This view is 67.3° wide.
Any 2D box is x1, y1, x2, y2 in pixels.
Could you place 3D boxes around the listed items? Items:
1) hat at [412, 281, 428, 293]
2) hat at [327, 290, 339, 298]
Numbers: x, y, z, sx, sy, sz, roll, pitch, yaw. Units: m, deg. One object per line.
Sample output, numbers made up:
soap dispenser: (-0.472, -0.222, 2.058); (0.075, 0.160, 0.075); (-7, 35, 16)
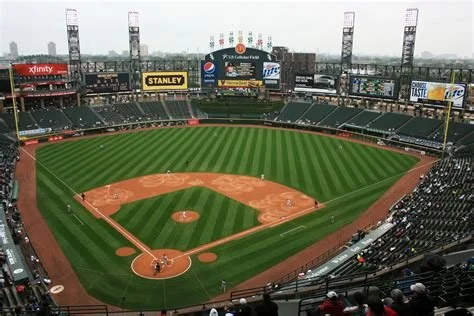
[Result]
hat: (7.681, 5.395, 14.883); (0.517, 0.438, 0.371); (4, 15, 19)
hat: (4.162, 5.911, 15.492); (0.467, 0.179, 0.503); (1, 9, 5)
